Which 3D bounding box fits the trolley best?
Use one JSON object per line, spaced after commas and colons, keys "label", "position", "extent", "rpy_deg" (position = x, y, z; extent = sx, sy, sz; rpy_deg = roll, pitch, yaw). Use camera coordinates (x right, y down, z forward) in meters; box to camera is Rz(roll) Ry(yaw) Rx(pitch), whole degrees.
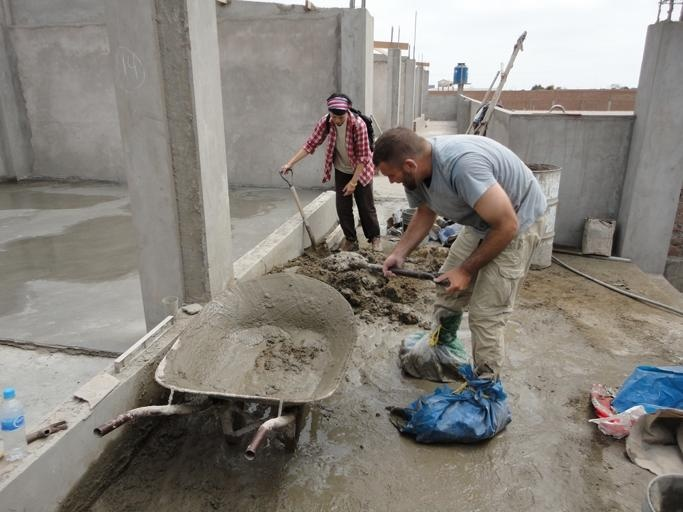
{"label": "trolley", "position": [-0.547, 0.668, 3.430], "extent": [0.826, 0.697, 1.623], "rpy_deg": [14, 39, 11]}

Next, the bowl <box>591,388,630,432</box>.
{"label": "bowl", "position": [1.964, 1.109, 3.579], "extent": [0.208, 0.138, 0.484], "rpy_deg": [11, 25, 21]}

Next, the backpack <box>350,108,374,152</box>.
{"label": "backpack", "position": [0.243, -1.513, 5.771], "extent": [0.289, 0.435, 0.761], "rpy_deg": [2, 23, 1]}

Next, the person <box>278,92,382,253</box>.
{"label": "person", "position": [-0.118, -0.974, 5.884], "extent": [1.060, 2.055, 0.671], "rpy_deg": [-5, 31, 0]}

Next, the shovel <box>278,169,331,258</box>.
{"label": "shovel", "position": [-0.485, -0.566, 6.559], "extent": [0.337, 1.624, 0.155], "rpy_deg": [-17, -6, -11]}

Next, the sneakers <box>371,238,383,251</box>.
{"label": "sneakers", "position": [0.448, -0.142, 6.224], "extent": [0.098, 0.214, 0.205], "rpy_deg": [0, -5, -2]}

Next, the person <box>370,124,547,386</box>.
{"label": "person", "position": [0.920, 0.061, 3.782], "extent": [1.089, 2.147, 0.962], "rpy_deg": [6, 22, 26]}

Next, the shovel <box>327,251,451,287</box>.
{"label": "shovel", "position": [0.315, 0.072, 4.759], "extent": [0.927, 0.129, 0.442], "rpy_deg": [6, 9, 26]}

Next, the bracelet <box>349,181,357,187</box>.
{"label": "bracelet", "position": [0.129, -0.822, 5.534], "extent": [0.061, 0.042, 0.080], "rpy_deg": [1, 40, 11]}
